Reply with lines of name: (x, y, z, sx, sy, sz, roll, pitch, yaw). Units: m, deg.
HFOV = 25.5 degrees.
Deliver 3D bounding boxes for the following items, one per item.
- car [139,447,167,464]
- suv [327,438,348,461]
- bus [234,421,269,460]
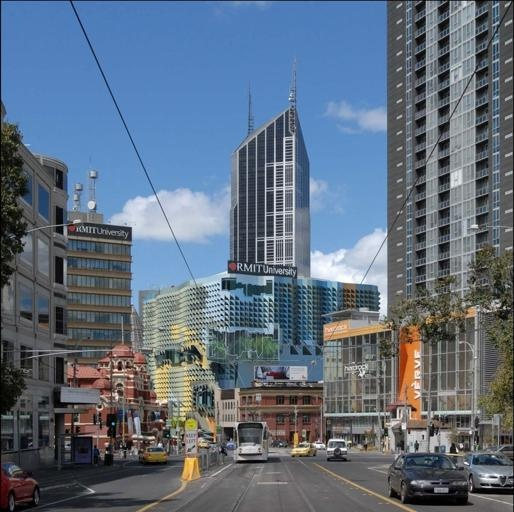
car: (-7.759, 15.087, 85.934, 1.876, 1.479, 2.380, 0, -19, -9)
suv: (6.276, 15.262, 89.052, 1.492, 1.856, 1.938, -7, -18, 11)
bus: (-0.377, 13.554, 82.760, 2.412, 2.517, 4.198, -3, -19, -1)
